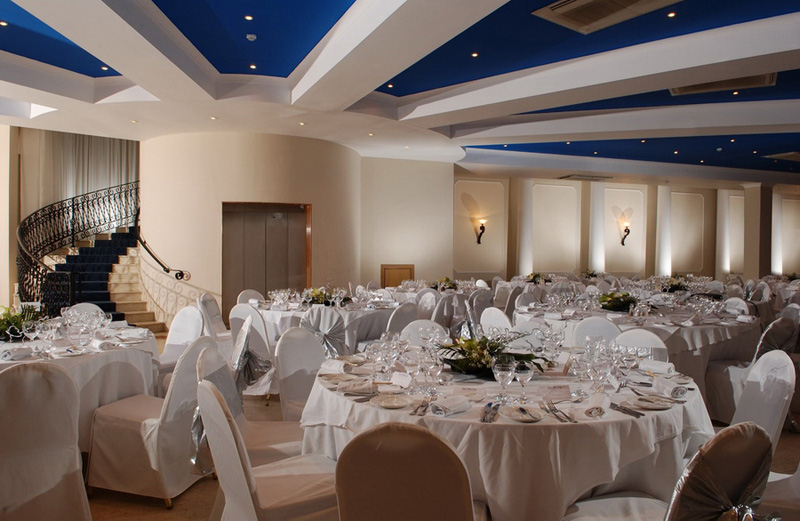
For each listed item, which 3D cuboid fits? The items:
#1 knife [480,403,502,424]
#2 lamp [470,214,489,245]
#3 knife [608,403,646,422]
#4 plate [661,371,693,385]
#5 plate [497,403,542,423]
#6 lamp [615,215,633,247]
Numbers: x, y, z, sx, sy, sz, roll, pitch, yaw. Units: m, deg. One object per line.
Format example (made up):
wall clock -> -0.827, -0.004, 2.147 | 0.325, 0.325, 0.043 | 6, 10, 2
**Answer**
knife -> 0.555, 0.937, 3.096 | 0.077, 0.167, 0.103 | 15, -24, 5
lamp -> 2.444, -0.948, 15.481 | 0.541, 0.937, 0.164 | -1, 1, -25
knife -> 1.418, 0.941, 3.153 | 0.062, 0.016, 0.234 | -13, -1, -6
plate -> 2.045, 0.867, 3.700 | 0.122, 0.034, 0.119 | -2, 5, -39
plate -> 0.730, 0.934, 3.081 | 0.247, 0.058, 0.173 | -1, 0, 11
lamp -> 7.763, -1.008, 17.333 | 0.573, 1.100, 0.194 | -1, 1, -26
